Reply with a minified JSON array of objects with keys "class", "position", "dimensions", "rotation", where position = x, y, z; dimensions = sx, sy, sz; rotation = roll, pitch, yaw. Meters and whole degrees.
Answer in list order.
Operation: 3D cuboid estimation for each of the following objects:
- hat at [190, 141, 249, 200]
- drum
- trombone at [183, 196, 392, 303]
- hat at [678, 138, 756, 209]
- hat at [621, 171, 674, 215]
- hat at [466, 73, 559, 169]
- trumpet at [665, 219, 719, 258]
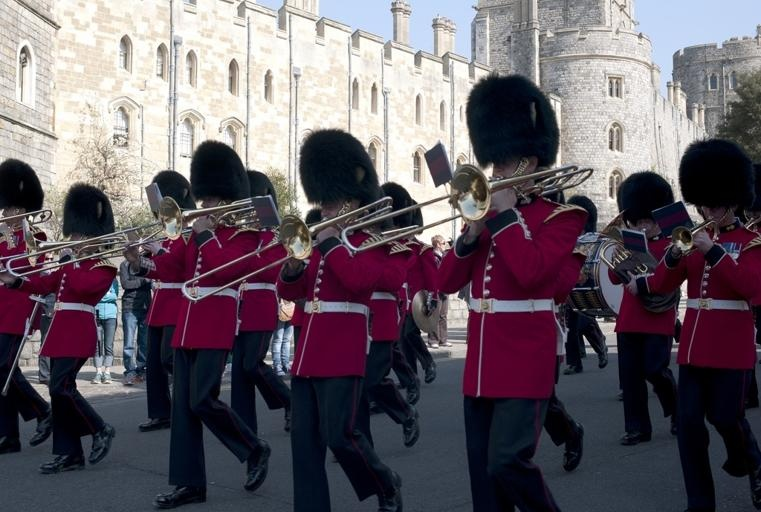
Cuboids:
[{"class":"hat","position":[-1.531,-0.765,9.288],"dimensions":[0.628,0.534,0.439],"rotation":[15,-18,-38]},{"class":"drum","position":[2.588,0.170,11.687],"dimensions":[0.661,1.004,0.920],"rotation":[-3,10,19]},{"class":"trombone","position":[-0.802,-0.065,8.025],"dimensions":[1.115,0.232,0.492],"rotation":[-22,-1,-2]},{"class":"hat","position":[2.914,-0.722,8.257],"dimensions":[0.609,0.614,0.373],"rotation":[-2,-1,17]},{"class":"hat","position":[2.927,-0.630,10.510],"dimensions":[0.528,0.576,0.632],"rotation":[5,-17,0]},{"class":"hat","position":[1.023,-0.969,7.422],"dimensions":[0.790,0.648,0.571],"rotation":[16,-17,-31]},{"class":"trumpet","position":[2.568,-0.227,7.673],"dimensions":[0.430,0.162,0.147],"rotation":[-22,-21,-39]}]
